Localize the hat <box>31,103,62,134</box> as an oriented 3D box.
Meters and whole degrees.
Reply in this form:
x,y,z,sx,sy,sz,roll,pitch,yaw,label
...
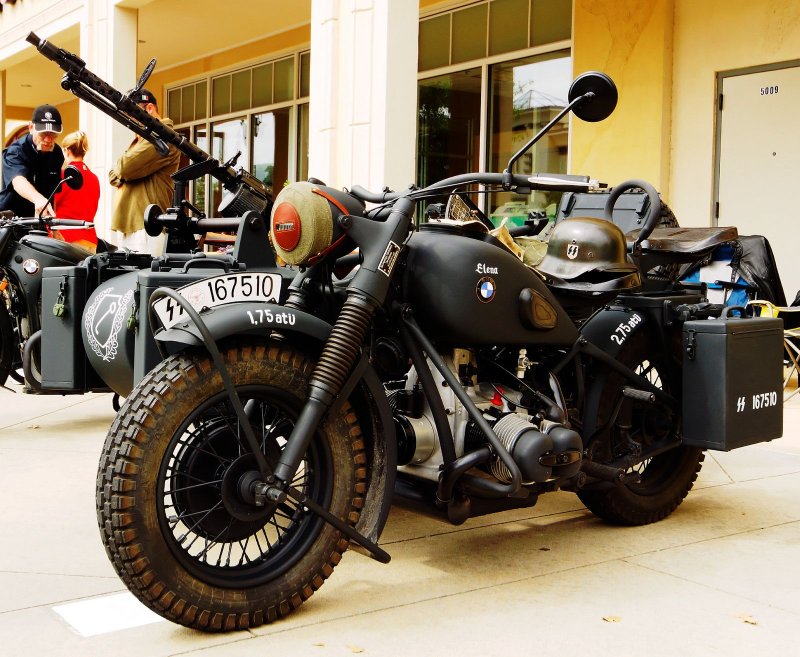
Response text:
x,y,z,sx,sy,sz,roll,pitch,yaw,label
-2.935,-1.740,6.468,0.216,0.255,0.293,-1,5,-27,hat

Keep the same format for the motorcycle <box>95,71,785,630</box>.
x,y,z,sx,sy,sz,roll,pitch,yaw,label
0.088,0.120,3.552,2.788,2.031,1.478,-2,1,-31,motorcycle
